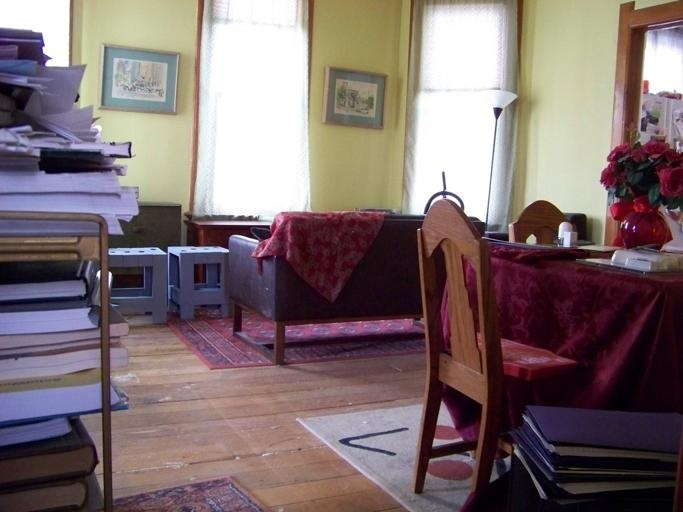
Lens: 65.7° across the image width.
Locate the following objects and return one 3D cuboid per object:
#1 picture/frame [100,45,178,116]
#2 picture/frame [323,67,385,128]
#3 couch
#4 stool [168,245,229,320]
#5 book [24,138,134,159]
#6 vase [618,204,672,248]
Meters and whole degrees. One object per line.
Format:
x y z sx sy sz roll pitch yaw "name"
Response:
-2.055 -1.750 5.209 0.713 0.619 0.056 1 4 -29 "picture/frame"
0.108 -1.810 5.993 0.661 0.576 0.069 2 5 -24 "picture/frame"
0.090 0.137 3.835 1.638 0.945 0.898 -3 7 -29 "couch"
-1.166 0.210 4.361 0.588 0.474 0.611 3 5 10 "stool"
-0.514 -0.213 1.044 0.179 0.043 0.103 -2 8 -31 "book"
1.102 -0.115 1.954 0.158 0.185 0.151 -3 4 -34 "vase"
